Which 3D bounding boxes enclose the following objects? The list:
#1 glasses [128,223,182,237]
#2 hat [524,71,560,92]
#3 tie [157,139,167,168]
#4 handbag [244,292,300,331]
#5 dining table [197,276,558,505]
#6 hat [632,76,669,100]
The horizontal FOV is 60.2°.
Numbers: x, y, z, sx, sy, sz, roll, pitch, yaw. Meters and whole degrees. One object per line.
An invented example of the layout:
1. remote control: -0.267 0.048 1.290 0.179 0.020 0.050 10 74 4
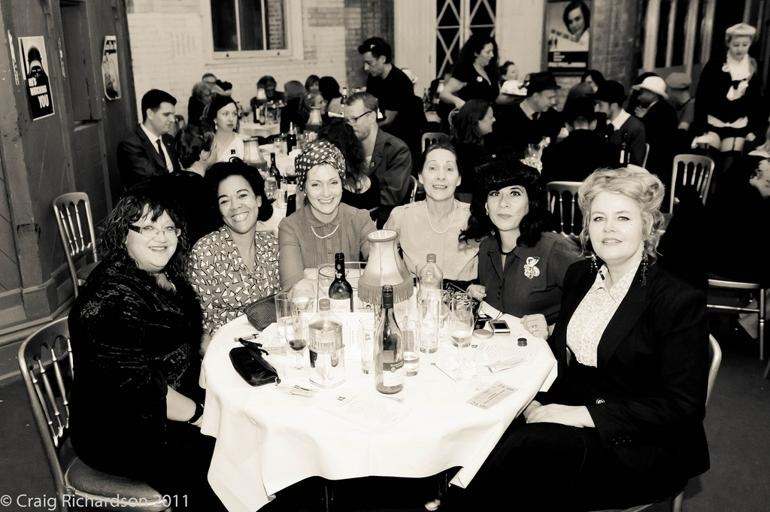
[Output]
1. glasses: -1.223 -0.143 3.482 0.231 0.077 0.048 -7 20 -22
2. hat: 1.615 -1.868 7.000 0.227 0.163 0.330 -4 15 -8
3. tie: -2.145 -1.001 6.367 0.051 0.372 0.042 -12 -18 -18
4. handbag: -0.628 0.253 3.535 0.250 0.077 0.185 -32 62 -35
5. dining table: -0.048 0.798 3.321 1.662 0.720 0.821 -4 20 -12
6. hat: 2.964 -1.914 7.417 0.329 0.139 0.308 20 17 21
